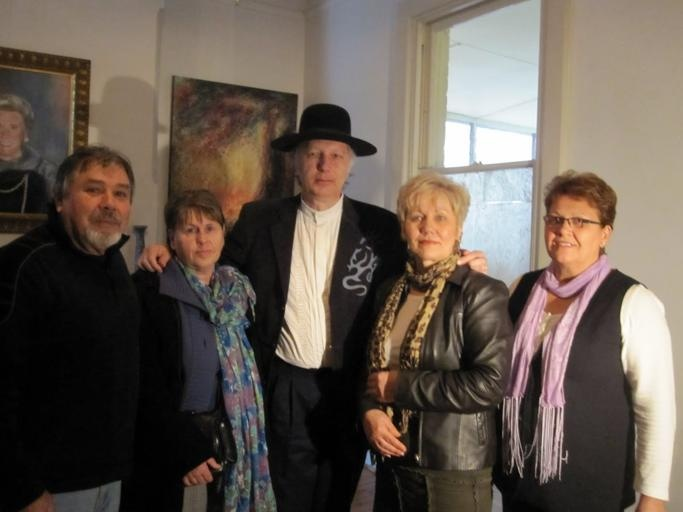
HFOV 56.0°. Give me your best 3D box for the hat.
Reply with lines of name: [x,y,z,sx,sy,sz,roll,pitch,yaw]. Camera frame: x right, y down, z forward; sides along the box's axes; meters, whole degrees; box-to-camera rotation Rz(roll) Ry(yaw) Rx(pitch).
hat: [-0.086,-0.671,3.362,0.551,0.219,0.494,3,7,-4]

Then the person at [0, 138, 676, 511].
person: [0.070,0.339,2.763,2.145,1.455,0.375,-1,-7,9]
